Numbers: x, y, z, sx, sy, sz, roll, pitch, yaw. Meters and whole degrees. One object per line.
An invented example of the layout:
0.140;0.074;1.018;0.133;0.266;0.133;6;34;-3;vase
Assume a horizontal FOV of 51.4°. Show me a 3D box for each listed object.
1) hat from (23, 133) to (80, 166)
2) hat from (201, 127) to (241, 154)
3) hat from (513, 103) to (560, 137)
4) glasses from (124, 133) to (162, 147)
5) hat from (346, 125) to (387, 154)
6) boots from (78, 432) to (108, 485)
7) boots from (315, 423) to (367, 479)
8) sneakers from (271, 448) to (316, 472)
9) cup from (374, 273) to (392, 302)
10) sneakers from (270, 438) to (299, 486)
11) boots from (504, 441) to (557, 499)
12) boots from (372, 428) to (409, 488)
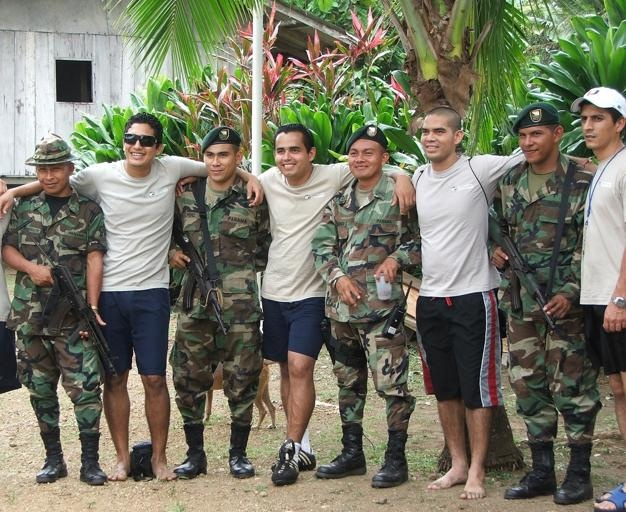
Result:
-1.856;-0.749;4.674;0.324;0.121;0.286;-4;7;-10;hat
-0.663;-0.869;4.795;0.278;0.198;0.188;-2;0;-15;hat
1.452;-0.915;4.230;0.285;0.204;0.186;-2;0;14;hat
-1.221;-0.834;4.688;0.248;0.099;0.123;-1;0;-12;glasses
0.395;-0.844;4.656;0.284;0.200;0.182;-2;0;1;hat
-1.577;1.444;4.699;0.172;0.374;0.274;-2;0;-24;boots
0.192;1.430;4.719;0.461;0.358;0.187;8;-14;-36;boots
-0.095;1.523;4.872;0.173;0.189;0.442;3;-14;18;sneakers
0.500;0.222;4.506;0.114;0.179;0.081;-2;0;3;cup
-0.173;1.445;4.609;0.257;0.326;0.188;-2;0;-22;sneakers
1.381;1.378;4.206;0.448;0.346;0.184;6;-8;-29;boots
0.541;1.417;4.527;0.201;0.366;0.444;-3;-8;28;boots
